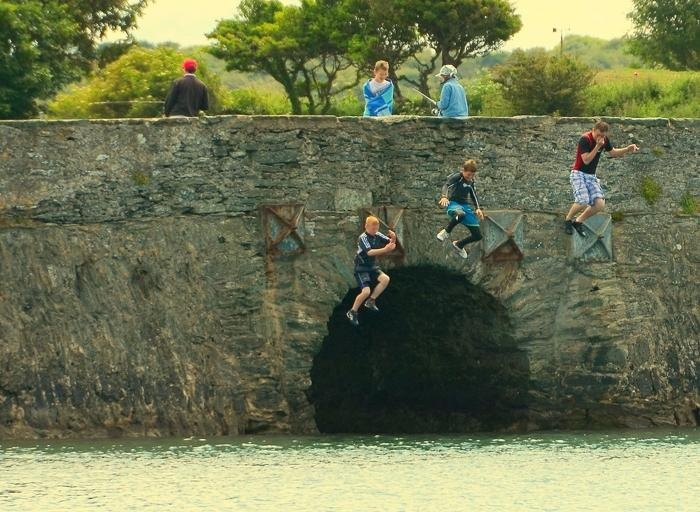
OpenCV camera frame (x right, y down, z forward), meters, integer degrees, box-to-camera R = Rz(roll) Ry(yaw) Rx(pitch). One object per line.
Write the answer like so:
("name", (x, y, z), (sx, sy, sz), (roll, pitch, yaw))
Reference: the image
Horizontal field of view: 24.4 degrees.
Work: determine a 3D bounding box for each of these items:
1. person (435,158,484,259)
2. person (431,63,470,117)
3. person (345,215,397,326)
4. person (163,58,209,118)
("person", (2.402, -0.977, 35.757), (1.026, 2.007, 1.041), (-3, 1, 3))
("person", (2.232, -3.664, 36.609), (0.929, 1.230, 0.785), (2, 12, 10))
("person", (0.466, 0.369, 35.763), (1.265, 2.361, 0.881), (1, 7, 16))
("person", (-3.680, -3.708, 36.149), (0.956, 1.280, 0.515), (-3, 1, -13))
